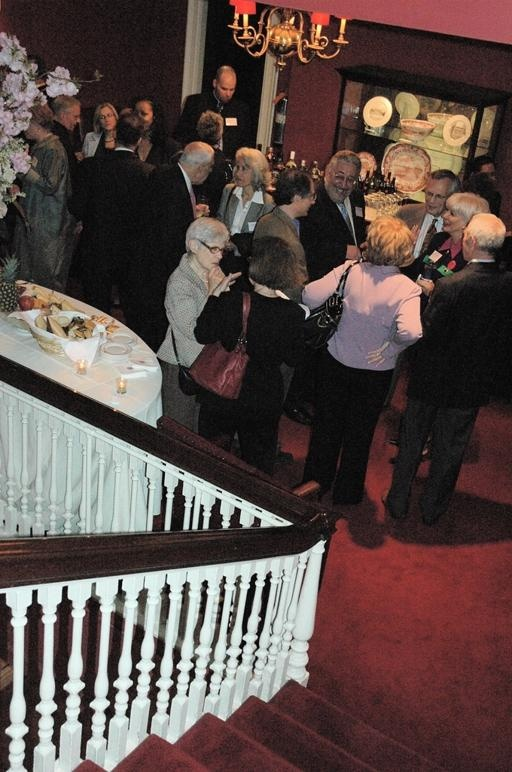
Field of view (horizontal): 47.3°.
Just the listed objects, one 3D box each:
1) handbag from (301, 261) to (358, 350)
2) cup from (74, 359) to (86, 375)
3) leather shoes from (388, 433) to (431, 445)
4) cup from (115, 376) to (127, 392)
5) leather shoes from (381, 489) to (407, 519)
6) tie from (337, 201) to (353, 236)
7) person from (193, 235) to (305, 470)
[{"bbox_3d":[0.368,-0.386,3.042,0.152,0.516,0.579,17,20,7],"label":"handbag"},{"bbox_3d":[-0.932,-0.108,3.170,0.068,0.074,0.067,10,30,-6],"label":"cup"},{"bbox_3d":[1.028,0.349,3.884,0.180,0.089,0.240,1,3,-8],"label":"leather shoes"},{"bbox_3d":[-0.693,-0.015,3.037,0.063,0.068,0.065,6,15,-2],"label":"cup"},{"bbox_3d":[0.918,0.759,3.901,0.118,0.139,0.191,-13,28,-11],"label":"leather shoes"},{"bbox_3d":[0.676,-1.274,4.392,0.084,0.263,0.013,-17,3,-10],"label":"tie"},{"bbox_3d":[-0.053,-0.128,2.945,0.555,1.236,0.354,14,20,1],"label":"person"}]
